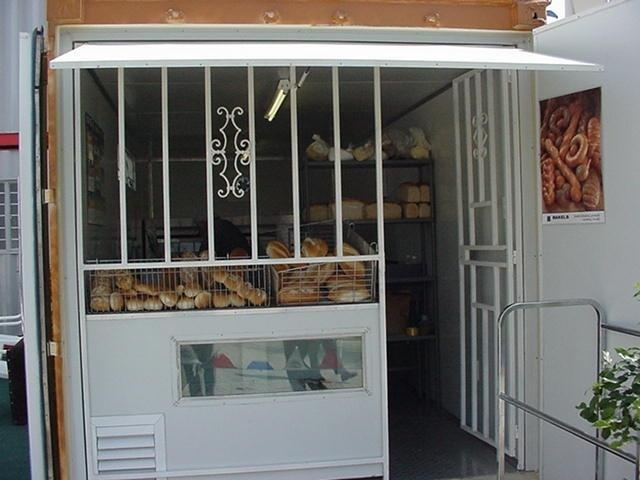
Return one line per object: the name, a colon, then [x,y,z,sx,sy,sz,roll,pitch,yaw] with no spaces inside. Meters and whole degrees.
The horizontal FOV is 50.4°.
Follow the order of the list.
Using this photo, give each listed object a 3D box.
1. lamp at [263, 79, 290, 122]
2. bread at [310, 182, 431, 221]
lamp: [-0.326,-1.052,5.137,0.113,0.111,0.400,17,-39,-13]
bread: [0.336,-0.319,5.870,0.558,0.337,1.517,-5,0,43]
